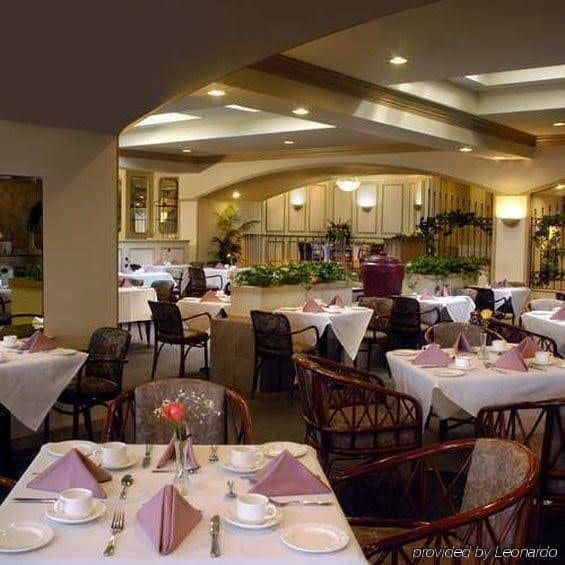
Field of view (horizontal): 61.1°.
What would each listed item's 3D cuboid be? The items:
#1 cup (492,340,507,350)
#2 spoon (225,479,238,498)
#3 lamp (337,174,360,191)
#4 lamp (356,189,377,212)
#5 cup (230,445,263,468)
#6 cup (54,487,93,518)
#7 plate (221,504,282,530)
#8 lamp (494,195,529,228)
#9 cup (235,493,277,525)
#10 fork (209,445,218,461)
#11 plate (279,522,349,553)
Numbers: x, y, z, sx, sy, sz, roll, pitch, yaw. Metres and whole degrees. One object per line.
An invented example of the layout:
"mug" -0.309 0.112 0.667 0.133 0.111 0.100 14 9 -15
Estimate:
"cup" 1.591 0.455 3.515 0.083 0.056 0.075 -7 11 -16
"spoon" -0.144 0.584 1.344 0.026 0.025 0.024 3 6 1
"lamp" 2.032 -3.066 14.995 0.755 0.531 0.757 -2 3 -10
"lamp" 2.950 -2.882 16.975 0.685 0.816 0.179 4 4 42
"cup" -0.112 0.558 1.530 0.096 0.042 0.058 1 -1 -6
"cup" -0.510 0.535 1.167 0.081 0.049 0.058 -4 12 -34
"plate" -0.073 0.564 1.143 0.140 0.025 0.104 1 3 -5
"lamp" 4.816 -1.507 10.045 0.692 0.676 0.320 5 10 40
"cup" -0.064 0.541 1.152 0.087 0.036 0.053 3 5 26
"fork" -0.236 0.595 1.636 0.026 0.026 0.025 2 3 15
"plate" 0.071 0.563 1.054 0.152 0.028 0.148 2 3 7
